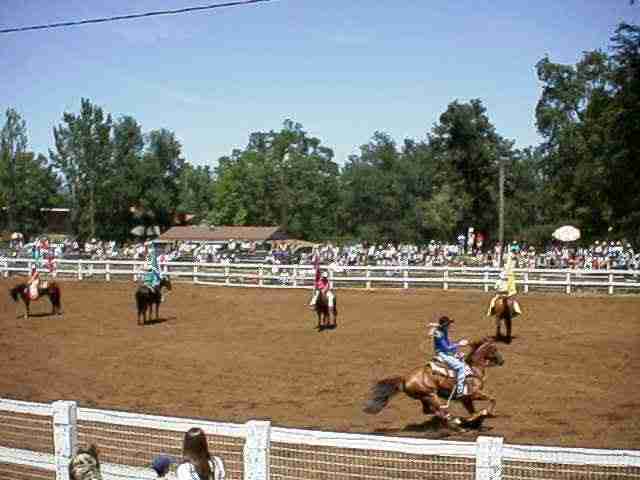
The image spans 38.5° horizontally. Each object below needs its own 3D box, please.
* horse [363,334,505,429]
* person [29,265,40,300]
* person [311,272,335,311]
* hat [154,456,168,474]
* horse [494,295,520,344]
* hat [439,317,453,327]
[{"bbox_3d":[4.140,5.410,33.350,5.108,3.500,1.251,-7,6,8],"label":"horse"},{"bbox_3d":[-14.000,2.101,44.840,0.539,1.699,0.710,-2,-1,-18],"label":"person"},{"bbox_3d":[0.085,2.388,42.225,1.090,1.327,0.702,-2,-1,-17],"label":"person"},{"bbox_3d":[-4.905,6.981,28.604,0.384,0.511,0.502,1,18,5],"label":"hat"},{"bbox_3d":[8.192,3.503,40.705,0.927,1.788,2.429,-3,-1,11],"label":"horse"},{"bbox_3d":[4.581,2.974,33.132,0.463,0.198,0.477,2,-3,-12],"label":"hat"}]
